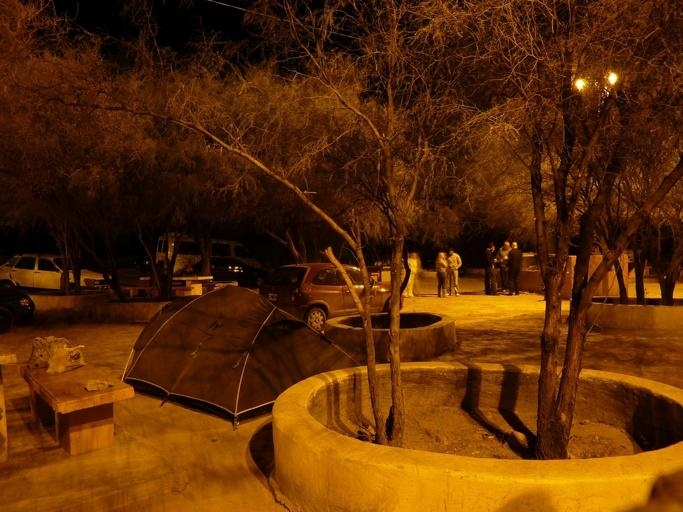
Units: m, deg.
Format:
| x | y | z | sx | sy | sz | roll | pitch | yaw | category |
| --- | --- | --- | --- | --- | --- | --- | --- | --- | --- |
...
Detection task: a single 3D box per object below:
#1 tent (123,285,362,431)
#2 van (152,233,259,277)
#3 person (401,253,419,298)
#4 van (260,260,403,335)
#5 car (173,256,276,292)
| x | y | z | sx | sy | sz | roll | pitch | yaw | category |
| --- | --- | --- | --- | --- | --- | --- | --- | --- | --- |
| -1.976 | 1.377 | 7.900 | 2.422 | 1.259 | 2.184 | 8 | 12 | 38 | tent |
| -6.630 | -0.107 | 26.259 | 5.438 | 3.257 | 2.259 | -1 | 1 | -25 | van |
| 2.258 | 0.629 | 16.482 | 0.527 | 0.643 | 1.730 | 8 | -33 | 14 | person |
| -0.391 | 0.850 | 13.746 | 2.950 | 1.585 | 1.828 | -6 | 5 | -29 | van |
| -6.679 | 0.833 | 27.587 | 4.864 | 2.061 | 1.756 | -1 | 7 | -2 | car |
